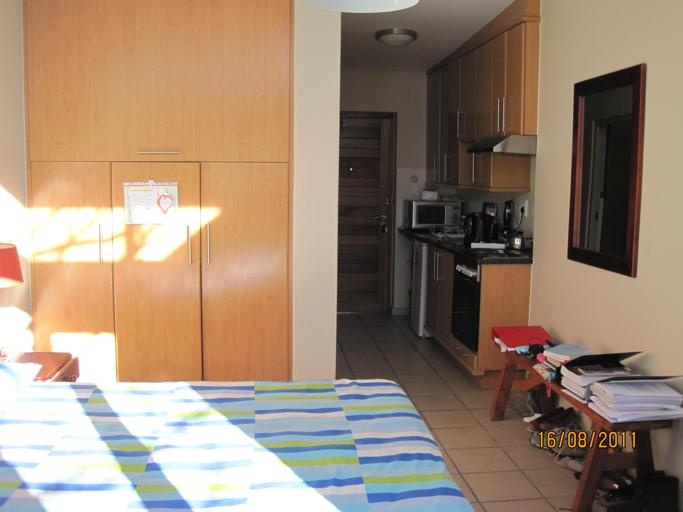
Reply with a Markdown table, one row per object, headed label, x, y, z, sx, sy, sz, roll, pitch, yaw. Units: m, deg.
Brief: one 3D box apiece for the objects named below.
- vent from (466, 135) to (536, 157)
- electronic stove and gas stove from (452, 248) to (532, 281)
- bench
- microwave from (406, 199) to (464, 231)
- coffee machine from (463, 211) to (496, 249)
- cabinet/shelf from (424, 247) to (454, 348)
| label | x | y | z | sx | sy | sz | roll | pitch | yaw |
| --- | --- | --- | --- | --- | --- | --- | --- | --- | --- |
| vent | 1.327 | -0.915 | 4.329 | 0.303 | 0.159 | 0.584 | -2 | 11 | -20 |
| electronic stove and gas stove | 1.184 | 0.064 | 4.342 | 0.488 | 0.218 | 0.753 | 1 | 7 | -7 |
| bench | 1.399 | 0.627 | 3.086 | 0.608 | 0.569 | 1.555 | 0 | 7 | -8 |
| microwave | 1.035 | -0.461 | 5.916 | 0.495 | 0.248 | 0.353 | -1 | 6 | -9 |
| coffee machine | 1.213 | -0.221 | 4.554 | 0.269 | 0.289 | 0.245 | 4 | 10 | 15 |
| cabinet/shelf | 0.950 | 0.381 | 5.033 | 0.322 | 0.869 | 0.960 | 0 | 5 | -5 |
